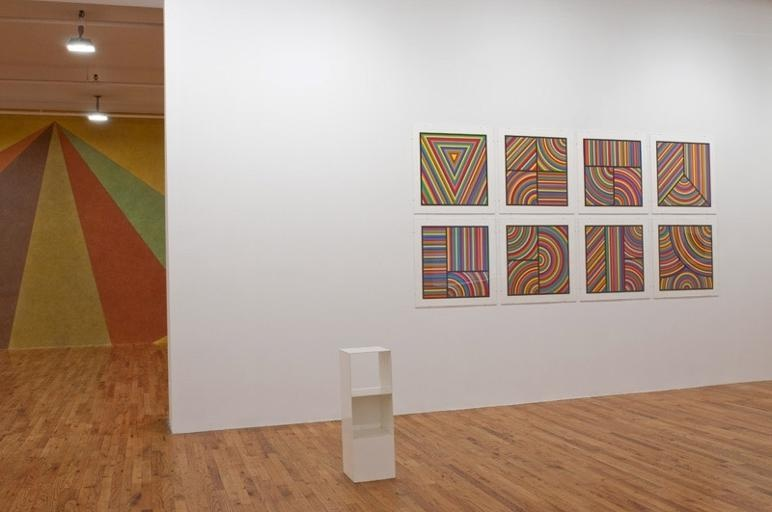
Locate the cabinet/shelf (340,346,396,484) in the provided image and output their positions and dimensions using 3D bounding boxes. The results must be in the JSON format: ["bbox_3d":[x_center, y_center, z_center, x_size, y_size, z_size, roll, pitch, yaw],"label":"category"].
[{"bbox_3d":[-0.166,1.371,4.676,0.474,1.102,0.417,-2,3,-6],"label":"cabinet/shelf"}]
